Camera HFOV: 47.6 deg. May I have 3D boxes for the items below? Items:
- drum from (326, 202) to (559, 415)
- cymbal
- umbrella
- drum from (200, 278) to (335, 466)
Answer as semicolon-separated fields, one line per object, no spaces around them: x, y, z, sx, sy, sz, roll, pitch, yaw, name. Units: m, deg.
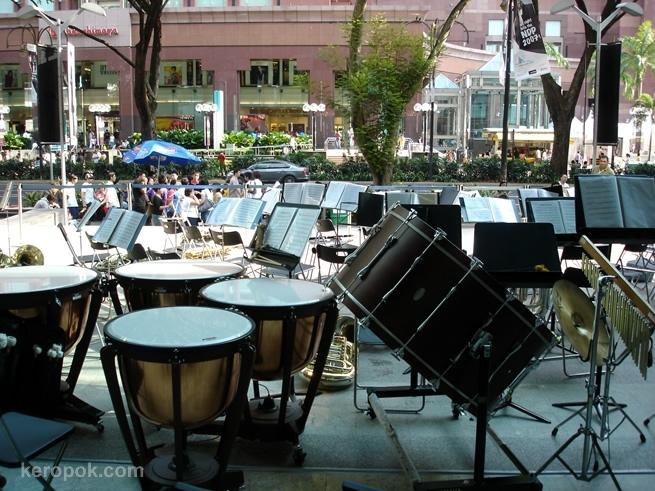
0.757;0.435;5.068;1.410;1.373;0.438;2;8;15;drum
1.776;0.576;5.334;0.635;0.126;0.633;39;39;-12;cymbal
-4.538;-2.242;18.903;1.136;0.857;2.184;10;14;30;umbrella
-0.397;0.899;5.554;0.877;1.061;0.898;6;6;33;drum
